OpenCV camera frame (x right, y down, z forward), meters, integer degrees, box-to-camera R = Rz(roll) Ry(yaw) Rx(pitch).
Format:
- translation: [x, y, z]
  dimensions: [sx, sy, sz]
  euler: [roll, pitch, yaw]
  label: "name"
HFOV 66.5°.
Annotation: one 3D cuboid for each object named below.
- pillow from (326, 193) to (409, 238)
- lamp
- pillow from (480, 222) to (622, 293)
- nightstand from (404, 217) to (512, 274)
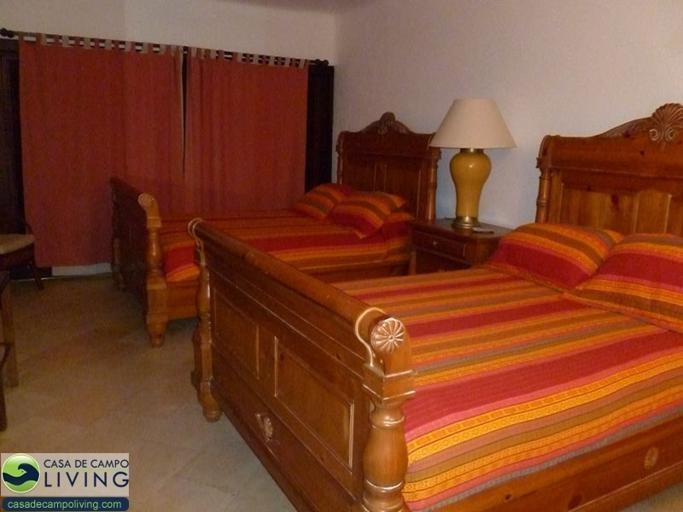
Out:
- translation: [0.276, -0.396, 4.399]
  dimensions: [0.427, 0.154, 0.488]
  euler: [12, 32, 28]
  label: "pillow"
- translation: [1.042, -0.758, 4.330]
  dimensions: [0.785, 1.329, 0.839]
  euler: [5, 12, 30]
  label: "lamp"
- translation: [1.203, 0.025, 3.269]
  dimensions: [0.567, 0.193, 0.611]
  euler: [17, 13, 27]
  label: "pillow"
- translation: [0.785, -0.058, 3.801]
  dimensions: [0.401, 0.570, 0.551]
  euler: [-6, 16, -28]
  label: "nightstand"
